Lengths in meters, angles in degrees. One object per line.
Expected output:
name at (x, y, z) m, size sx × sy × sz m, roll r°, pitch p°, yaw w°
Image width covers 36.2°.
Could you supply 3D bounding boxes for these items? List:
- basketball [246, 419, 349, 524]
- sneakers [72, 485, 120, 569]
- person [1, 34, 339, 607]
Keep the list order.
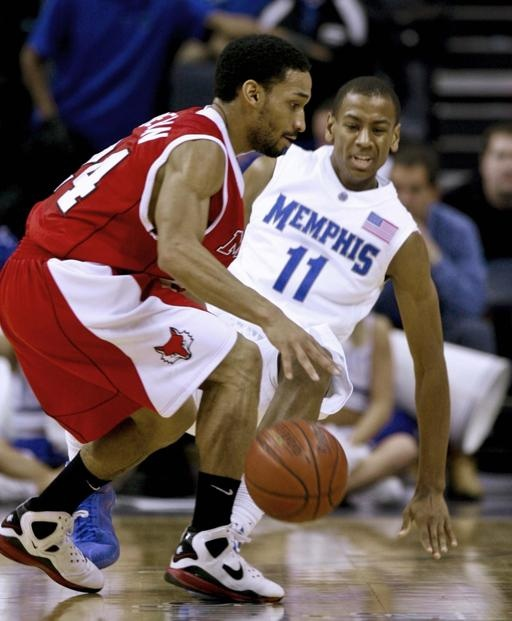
basketball at (0.129, 0.366, 1.919) m, size 0.276 × 0.216 × 0.256 m, roll 1°, pitch 3°, yaw 9°
sneakers at (-0.470, 0.595, 2.259) m, size 0.113 × 0.115 × 0.283 m, roll -8°, pitch 32°, yaw -8°
person at (-0.258, 0.071, 2.008) m, size 0.886 × 1.128 × 1.095 m, roll -3°, pitch 47°, yaw 5°
